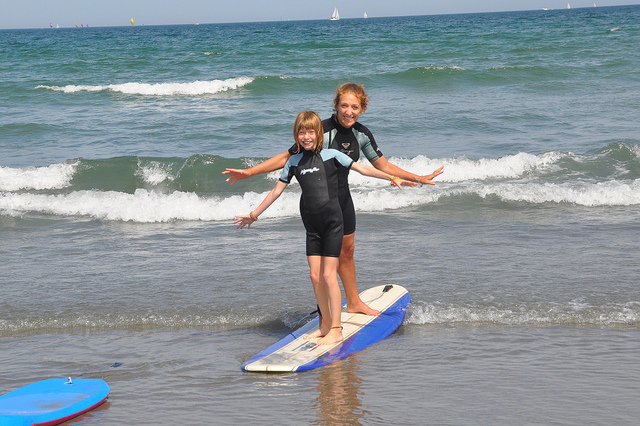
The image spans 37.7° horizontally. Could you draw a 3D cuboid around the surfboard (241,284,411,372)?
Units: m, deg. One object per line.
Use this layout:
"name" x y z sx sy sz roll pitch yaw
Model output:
"surfboard" 0.293 2.085 16.662 1.621 0.390 4.320 3 16 31
